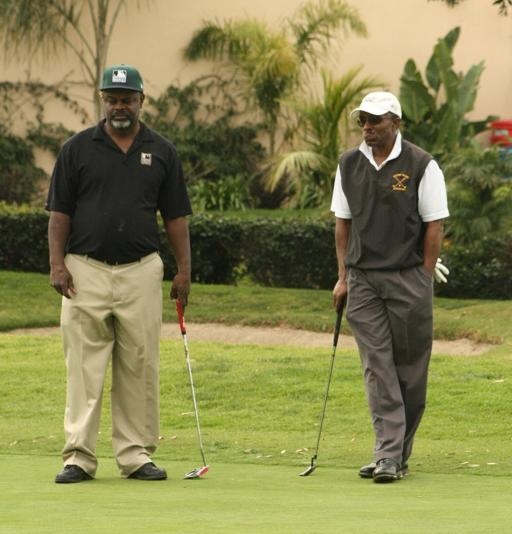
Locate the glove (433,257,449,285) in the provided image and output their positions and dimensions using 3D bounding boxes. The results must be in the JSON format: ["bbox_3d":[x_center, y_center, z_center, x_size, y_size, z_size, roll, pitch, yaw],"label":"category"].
[{"bbox_3d":[1.219,0.051,8.372,0.054,0.221,0.193,-2,-7,-18],"label":"glove"}]

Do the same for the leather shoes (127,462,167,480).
[{"bbox_3d":[-0.555,1.041,6.496,0.170,0.091,0.088,-3,-2,11],"label":"leather shoes"}]

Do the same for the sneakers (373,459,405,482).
[{"bbox_3d":[0.679,1.054,6.519,0.149,0.108,0.200,3,1,6],"label":"sneakers"}]

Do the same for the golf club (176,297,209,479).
[{"bbox_3d":[-0.419,0.852,8.561,0.202,1.364,0.142,-17,35,-14],"label":"golf club"}]

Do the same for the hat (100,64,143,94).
[{"bbox_3d":[-0.684,-0.959,6.641,0.121,0.119,0.183,5,7,1],"label":"hat"}]

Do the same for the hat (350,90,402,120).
[{"bbox_3d":[0.666,-0.850,6.820,0.194,0.110,0.146,2,-1,-39],"label":"hat"}]

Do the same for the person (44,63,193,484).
[{"bbox_3d":[-0.700,0.031,6.595,0.765,1.844,0.503,2,1,-12],"label":"person"}]

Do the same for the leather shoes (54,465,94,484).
[{"bbox_3d":[-0.906,1.046,6.360,0.144,0.076,0.282,3,1,10],"label":"leather shoes"}]

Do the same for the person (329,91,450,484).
[{"bbox_3d":[0.683,0.096,6.781,0.639,1.943,0.520,2,1,13],"label":"person"}]
